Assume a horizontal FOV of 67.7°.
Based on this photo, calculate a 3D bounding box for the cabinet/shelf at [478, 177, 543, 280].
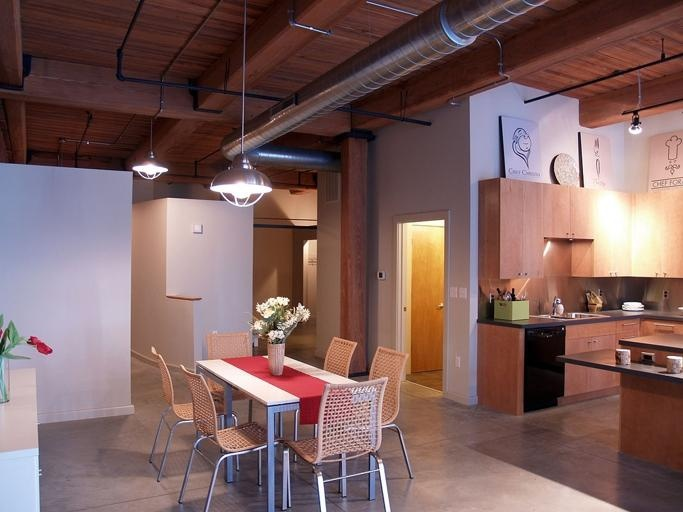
[{"bbox_3d":[2.546,-0.467,7.361,0.785,1.246,0.384,-1,4,-14],"label":"cabinet/shelf"}]

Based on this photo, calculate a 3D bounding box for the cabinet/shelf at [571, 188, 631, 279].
[{"bbox_3d":[4.098,-0.332,8.427,1.316,1.398,0.533,0,-3,8],"label":"cabinet/shelf"}]

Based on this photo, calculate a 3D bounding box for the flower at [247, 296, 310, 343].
[{"bbox_3d":[-0.650,0.693,5.454,0.597,0.524,0.594,0,3,8],"label":"flower"}]

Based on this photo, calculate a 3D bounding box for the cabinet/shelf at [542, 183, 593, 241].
[{"bbox_3d":[3.513,-0.615,7.850,0.918,0.827,0.359,4,-15,11],"label":"cabinet/shelf"}]
